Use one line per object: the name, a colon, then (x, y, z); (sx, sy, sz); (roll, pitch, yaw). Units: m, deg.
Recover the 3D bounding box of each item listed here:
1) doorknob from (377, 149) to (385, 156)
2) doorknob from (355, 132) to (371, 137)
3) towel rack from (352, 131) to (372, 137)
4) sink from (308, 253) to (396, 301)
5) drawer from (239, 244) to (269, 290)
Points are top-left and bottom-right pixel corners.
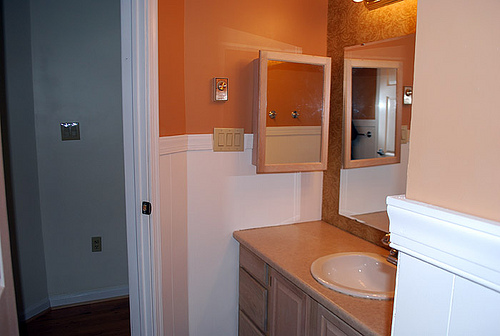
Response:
doorknob: (0.797, -0.096, 2.263); (0.034, 0.018, 0.049); (-1, -5, -1)
doorknob: (0.724, -0.214, 2.365); (0.031, 0.035, 0.103); (-3, 6, -31)
towel rack: (0.717, -0.214, 2.373); (0.097, 0.030, 0.029); (8, 19, 44)
sink: (0.534, 0.604, 1.928); (0.452, 0.168, 0.443); (-1, 11, 7)
drawer: (0.020, 0.599, 2.287); (0.158, 0.123, 0.239); (2, 6, -26)
